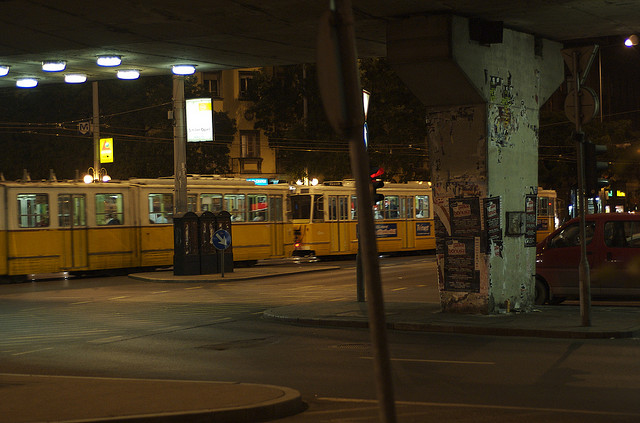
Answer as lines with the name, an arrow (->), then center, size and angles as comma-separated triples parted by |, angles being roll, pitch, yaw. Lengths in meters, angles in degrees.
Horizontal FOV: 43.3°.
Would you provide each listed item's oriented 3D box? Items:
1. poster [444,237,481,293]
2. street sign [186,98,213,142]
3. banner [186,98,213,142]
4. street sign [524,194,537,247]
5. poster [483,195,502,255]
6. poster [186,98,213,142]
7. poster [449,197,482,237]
poster -> 3.360, 1.285, 19.345 | 0.650, 1.420, 0.564 | -3, 0, -3
street sign -> -5.231, -3.898, 34.933 | 1.299, 1.829, 0.188 | 1, 14, 12
banner -> -5.219, -3.935, 34.827 | 1.241, 1.438, 0.375 | -3, -1, 16
street sign -> 5.221, 0.216, 20.133 | 0.065, 1.514, 1.344 | -1, -2, 19
poster -> 4.114, 0.327, 19.183 | 0.562, 1.295, 0.156 | -2, -1, -39
poster -> -5.189, -3.878, 34.904 | 1.283, 1.835, 0.189 | -1, 5, 14
poster -> 3.464, 0.132, 19.269 | 0.749, 0.854, 0.085 | -4, -1, 33
